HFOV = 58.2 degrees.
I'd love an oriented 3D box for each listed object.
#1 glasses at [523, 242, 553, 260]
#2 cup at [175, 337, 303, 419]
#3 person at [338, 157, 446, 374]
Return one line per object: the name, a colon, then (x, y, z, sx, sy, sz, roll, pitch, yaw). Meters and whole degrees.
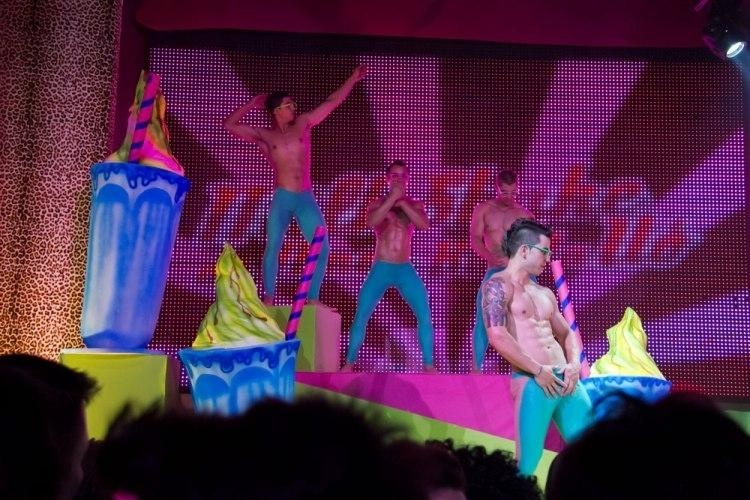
glasses: (0.798, -0.010, 3.215, 0.082, 0.026, 0.084, 21, 0, 44)
cup: (-0.557, 0.504, 2.736, 0.458, 0.369, 0.459, -1, -6, 0)
person: (0.198, 0.097, 4.927, 0.625, 1.380, 0.572, 8, 2, 0)
